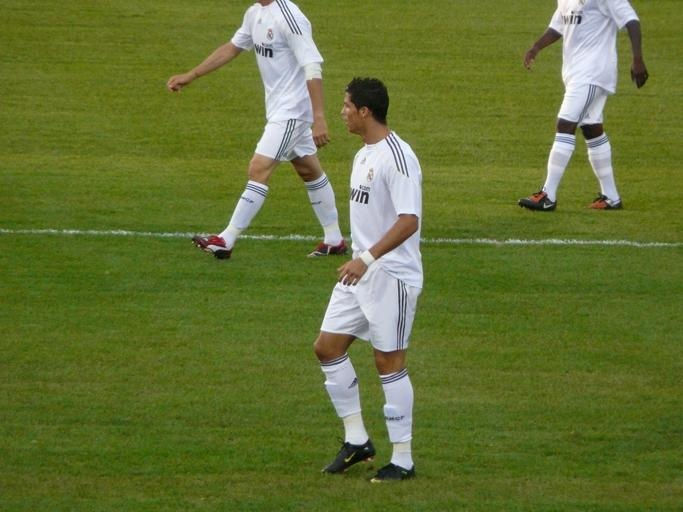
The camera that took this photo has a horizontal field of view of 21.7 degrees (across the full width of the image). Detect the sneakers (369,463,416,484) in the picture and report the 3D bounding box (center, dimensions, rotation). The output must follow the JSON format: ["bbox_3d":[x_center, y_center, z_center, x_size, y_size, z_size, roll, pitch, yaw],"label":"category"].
[{"bbox_3d":[0.519,2.131,17.317,0.378,0.118,0.184,1,-2,-2],"label":"sneakers"}]

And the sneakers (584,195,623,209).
[{"bbox_3d":[3.317,-0.658,21.957,0.356,0.126,0.180,4,8,5],"label":"sneakers"}]

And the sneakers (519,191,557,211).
[{"bbox_3d":[2.434,-0.652,21.734,0.531,0.195,0.193,5,8,-10],"label":"sneakers"}]

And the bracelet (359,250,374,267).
[{"bbox_3d":[0.246,0.025,17.125,0.145,0.108,0.142,43,7,-13],"label":"bracelet"}]

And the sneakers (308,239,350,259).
[{"bbox_3d":[-0.118,-0.058,20.534,0.510,0.162,0.172,-5,3,-20],"label":"sneakers"}]
